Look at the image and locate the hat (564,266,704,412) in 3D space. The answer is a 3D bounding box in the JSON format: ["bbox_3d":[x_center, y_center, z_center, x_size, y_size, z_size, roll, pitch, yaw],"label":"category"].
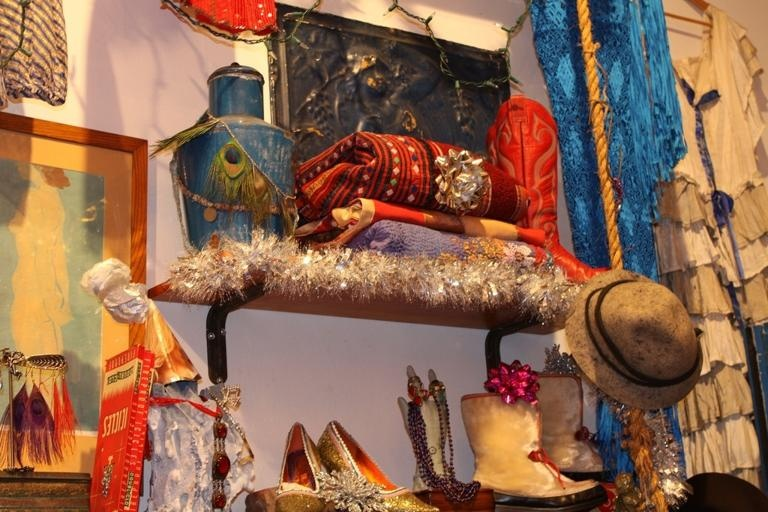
[{"bbox_3d":[0.647,0.237,3.240,0.340,0.353,0.145,-45,2,-18],"label":"hat"}]

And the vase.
[{"bbox_3d":[-0.406,-0.252,3.216,0.325,0.541,0.325,-2,-5,26],"label":"vase"}]
